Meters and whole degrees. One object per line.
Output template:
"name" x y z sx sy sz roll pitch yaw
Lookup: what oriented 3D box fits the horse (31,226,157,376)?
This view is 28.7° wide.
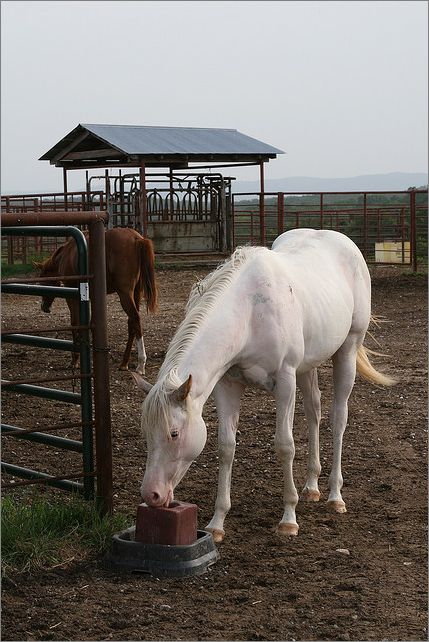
"horse" -1.201 -0.145 8.248 1.873 1.350 0.470 -7 -6 44

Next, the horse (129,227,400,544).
"horse" 0.355 0.362 4.567 0.687 1.538 2.661 1 7 30
